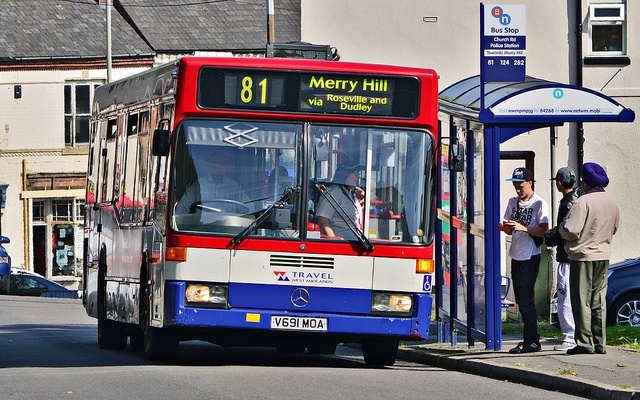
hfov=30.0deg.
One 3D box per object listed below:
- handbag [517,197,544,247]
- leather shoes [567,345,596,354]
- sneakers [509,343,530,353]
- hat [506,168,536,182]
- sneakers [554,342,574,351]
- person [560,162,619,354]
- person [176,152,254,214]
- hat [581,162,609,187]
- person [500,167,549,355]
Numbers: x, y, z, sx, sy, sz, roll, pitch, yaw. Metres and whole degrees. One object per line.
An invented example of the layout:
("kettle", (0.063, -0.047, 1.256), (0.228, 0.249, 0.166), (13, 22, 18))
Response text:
("handbag", (3.928, 0.457, 22.331), (0.568, 0.701, 0.178), (8, -9, -29))
("leather shoes", (4.802, 2.744, 21.954), (0.477, 0.178, 0.170), (2, 0, 14))
("sneakers", (3.784, 2.765, 22.348), (0.461, 0.165, 0.148), (1, -3, -6))
("hat", (3.830, -0.483, 22.448), (0.416, 0.199, 0.254), (3, 0, -6))
("sneakers", (4.588, 2.745, 22.446), (0.420, 0.152, 0.141), (1, -2, 5))
("person", (4.952, 1.069, 21.972), (1.058, 3.527, 0.539), (0, -4, 4))
("person", (-1.892, -0.162, 21.587), (1.670, 1.162, 0.884), (1, 3, -8))
("hat", (5.064, -0.467, 22.071), (0.381, 0.283, 0.499), (4, 19, -10))
("person", (3.841, 1.106, 22.337), (0.846, 3.468, 0.761), (-1, -4, 18))
